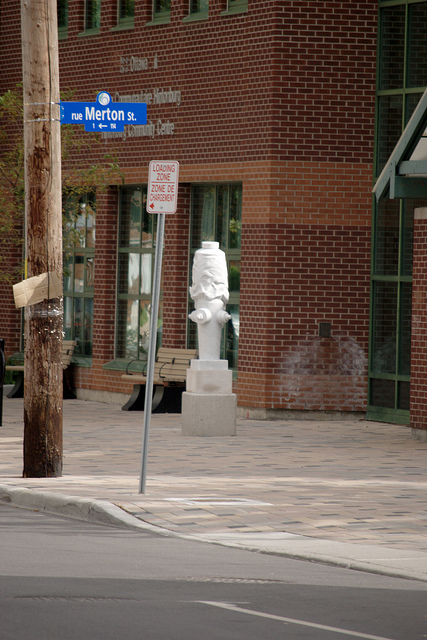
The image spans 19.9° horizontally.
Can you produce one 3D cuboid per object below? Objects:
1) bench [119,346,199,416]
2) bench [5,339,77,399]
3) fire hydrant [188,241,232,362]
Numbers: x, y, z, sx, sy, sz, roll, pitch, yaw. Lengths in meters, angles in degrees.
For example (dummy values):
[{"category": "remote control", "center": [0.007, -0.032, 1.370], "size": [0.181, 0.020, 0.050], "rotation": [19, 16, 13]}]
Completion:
[{"category": "bench", "center": [-0.825, 0.905, 18.570], "size": [0.644, 1.073, 1.276], "rotation": [10, -6, -27]}, {"category": "bench", "center": [-2.130, 0.631, 15.386], "size": [0.403, 0.594, 0.987], "rotation": [4, -5, -36]}, {"category": "fire hydrant", "center": [-0.040, -0.249, 15.551], "size": [0.462, 1.339, 0.580], "rotation": [2, -1, -11]}]
